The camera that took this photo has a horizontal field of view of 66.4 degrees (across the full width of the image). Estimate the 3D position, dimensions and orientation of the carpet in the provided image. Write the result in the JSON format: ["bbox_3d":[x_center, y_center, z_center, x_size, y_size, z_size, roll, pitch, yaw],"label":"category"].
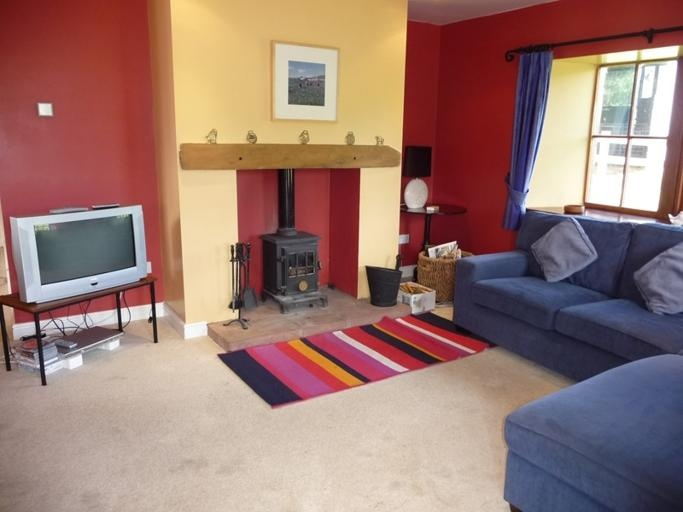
[{"bbox_3d":[0.059,0.816,4.351,1.990,0.146,0.859,-8,14,-25],"label":"carpet"}]

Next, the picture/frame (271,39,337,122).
[{"bbox_3d":[-0.357,-1.570,4.589,0.726,0.706,0.076,-2,6,-28],"label":"picture/frame"}]

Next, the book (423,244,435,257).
[{"bbox_3d":[0.927,-0.060,5.574,0.104,0.107,0.075,14,38,41],"label":"book"}]

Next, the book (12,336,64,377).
[{"bbox_3d":[-2.405,0.771,4.084,0.317,0.112,0.240,10,12,38],"label":"book"}]

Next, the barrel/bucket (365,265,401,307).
[{"bbox_3d":[0.414,0.287,5.039,0.343,0.331,0.377,0,0,0],"label":"barrel/bucket"}]

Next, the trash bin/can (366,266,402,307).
[{"bbox_3d":[0.392,0.287,5.042,0.333,0.333,0.383,1,-2,-5],"label":"trash bin/can"}]

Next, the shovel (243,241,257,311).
[{"bbox_3d":[-0.871,0.200,4.913,0.147,0.609,0.051,-1,2,23],"label":"shovel"}]

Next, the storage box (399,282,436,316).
[{"bbox_3d":[0.760,0.411,5.305,0.297,0.197,0.292,-11,19,-40],"label":"storage box"}]
